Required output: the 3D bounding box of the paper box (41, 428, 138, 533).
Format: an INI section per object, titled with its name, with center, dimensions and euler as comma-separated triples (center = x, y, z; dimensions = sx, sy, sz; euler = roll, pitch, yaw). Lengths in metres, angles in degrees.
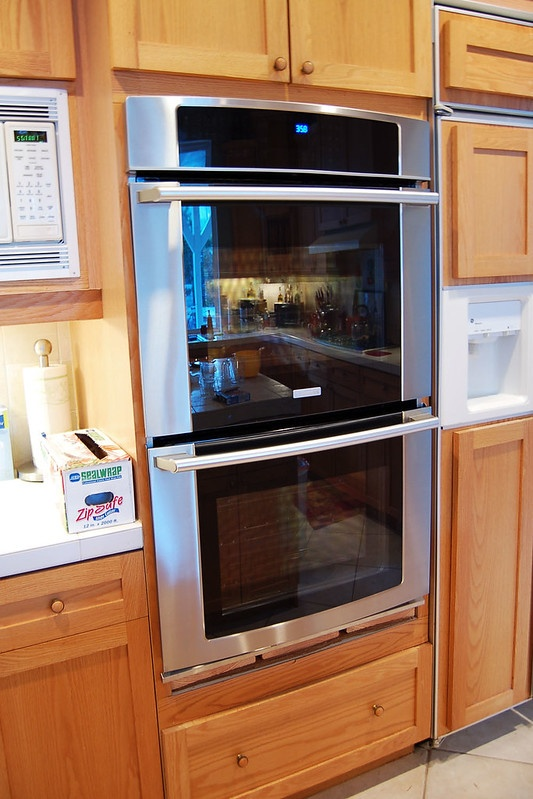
[paper box]
center = -0.396, 0.163, 1.420
dimensions = 0.150, 0.135, 0.293
euler = -7, 14, -26
